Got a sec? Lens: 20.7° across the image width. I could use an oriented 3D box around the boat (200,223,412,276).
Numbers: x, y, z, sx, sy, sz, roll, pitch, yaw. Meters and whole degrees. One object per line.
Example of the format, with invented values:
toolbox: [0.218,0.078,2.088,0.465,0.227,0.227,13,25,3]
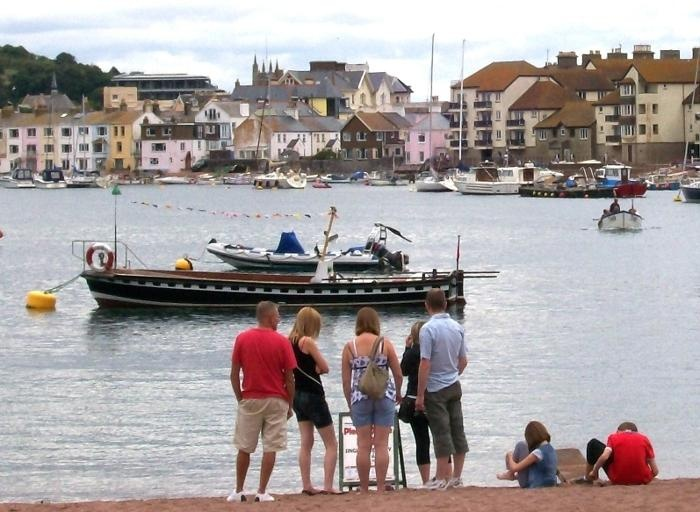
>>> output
boat: [-2.384,-0.455,102.625,10.501,2.779,2.623,1,3,0]
